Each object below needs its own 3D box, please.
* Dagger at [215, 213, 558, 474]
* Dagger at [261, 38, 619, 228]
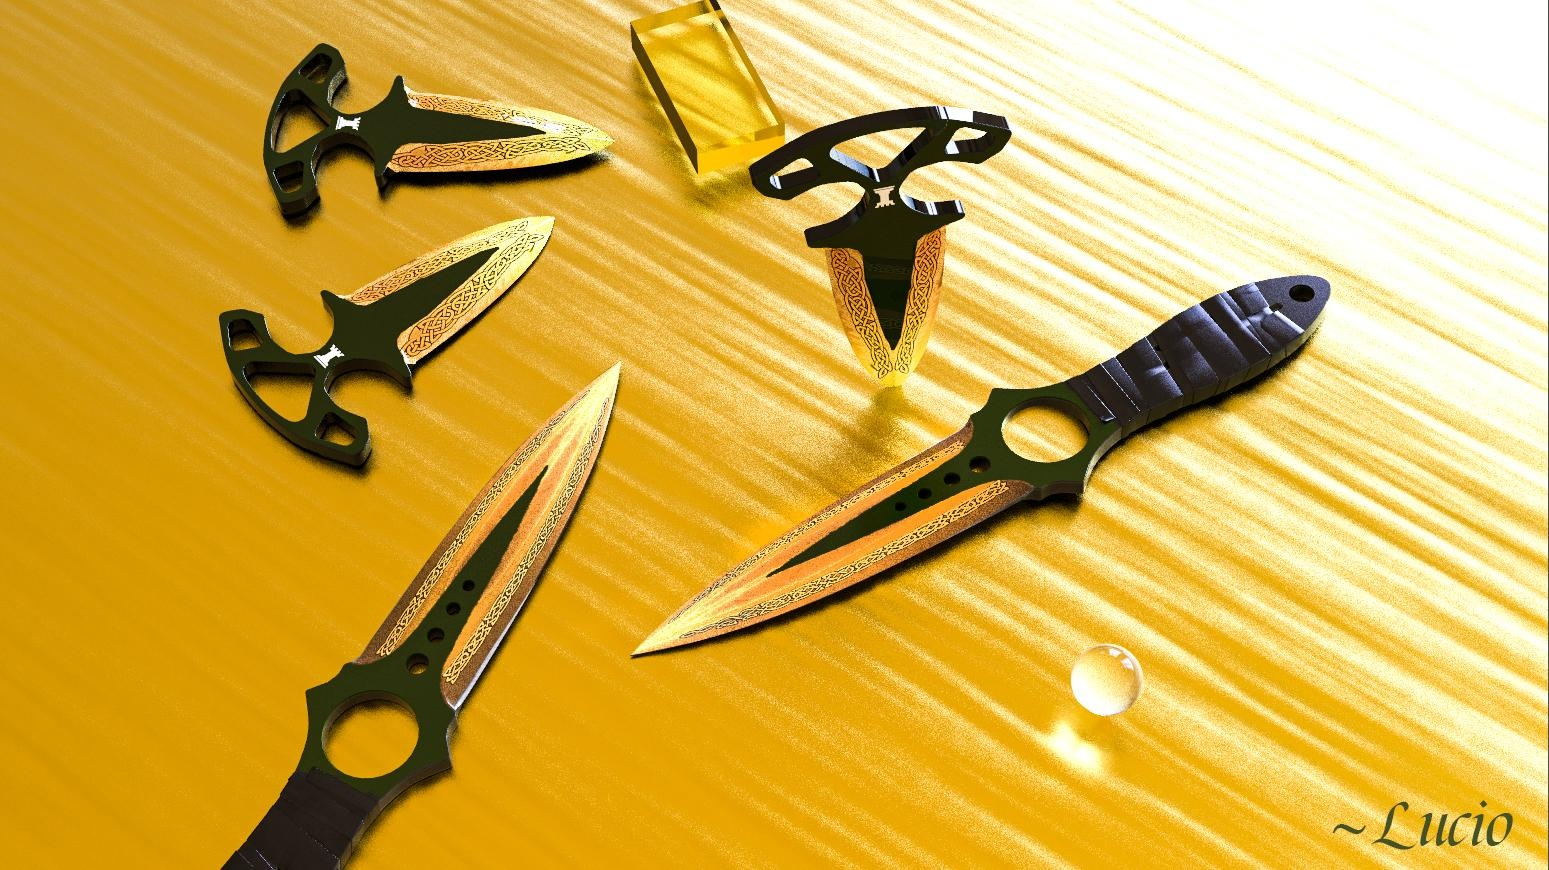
[{"bbox_3d":[-0.426,-0.109,2.207,0.194,0.361,0.025,49,-25,21],"label":"Dagger"},{"bbox_3d":[-0.390,-0.344,2.302,0.486,0.192,0.028,7,-3,26],"label":"Dagger"}]
